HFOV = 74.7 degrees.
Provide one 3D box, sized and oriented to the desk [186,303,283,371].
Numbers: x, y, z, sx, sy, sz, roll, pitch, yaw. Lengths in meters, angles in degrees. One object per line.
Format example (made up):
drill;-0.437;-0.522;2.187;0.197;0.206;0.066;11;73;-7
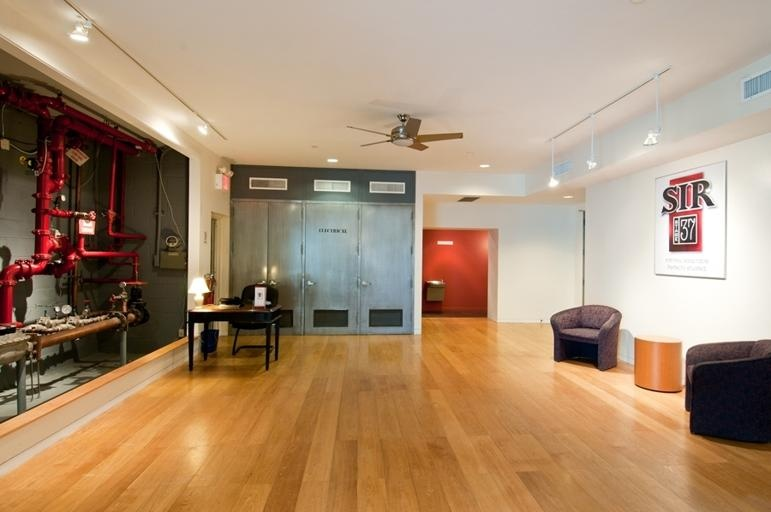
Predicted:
desk;-2.247;1.214;7.641;1.203;0.832;0.891;0;-4;-1

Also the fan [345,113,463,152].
fan;0.454;-1.745;7.238;1.717;0.471;1.119;10;16;37

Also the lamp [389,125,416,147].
lamp;0.239;-1.643;6.910;0.308;0.140;0.394;2;-7;-2

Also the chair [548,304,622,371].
chair;3.171;1.241;7.934;0.929;0.840;0.780;3;5;44

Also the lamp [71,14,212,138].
lamp;-2.817;-2.105;6.042;0.223;0.157;1.946;-28;-31;8

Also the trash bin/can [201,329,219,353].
trash bin/can;-2.795;1.355;8.037;0.338;0.336;0.482;0;-5;-4

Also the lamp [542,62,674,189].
lamp;3.016;-1.672;7.125;0.904;1.492;2.604;-2;13;-7

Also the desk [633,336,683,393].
desk;3.672;1.455;6.801;0.616;0.681;0.328;6;15;24

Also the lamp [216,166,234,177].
lamp;-2.775;-1.450;8.747;0.264;0.090;0.190;3;2;10
